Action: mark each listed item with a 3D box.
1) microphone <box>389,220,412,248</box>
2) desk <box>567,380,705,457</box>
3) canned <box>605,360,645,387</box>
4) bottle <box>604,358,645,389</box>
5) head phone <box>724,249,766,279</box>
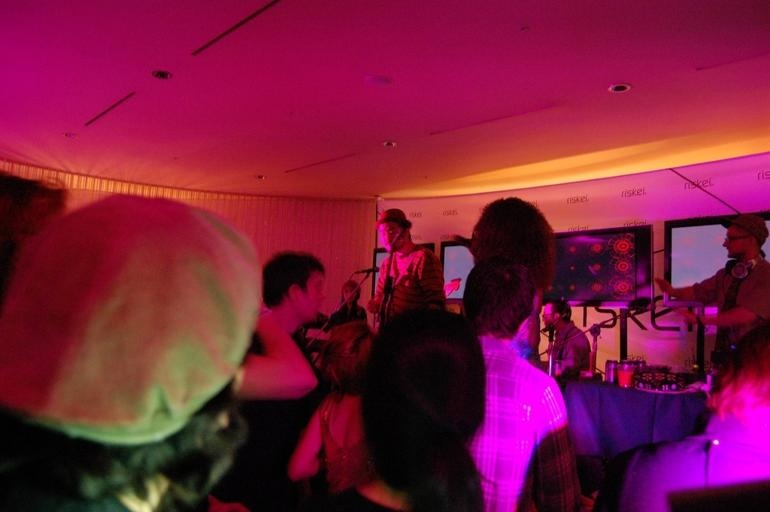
[{"bbox_3d":[0.129,-0.174,4.243,0.136,0.177,0.176,7,11,7],"label":"microphone"},{"bbox_3d":[1.463,0.945,3.227,0.507,0.256,0.501,7,-25,-4],"label":"desk"},{"bbox_3d":[1.427,0.683,3.382,0.158,0.173,0.179,11,-10,-42],"label":"canned"},{"bbox_3d":[1.420,0.690,3.381,0.162,0.177,0.182,14,-15,-41],"label":"bottle"},{"bbox_3d":[2.696,0.060,4.247,0.317,0.131,0.286,-19,5,-36],"label":"head phone"}]
